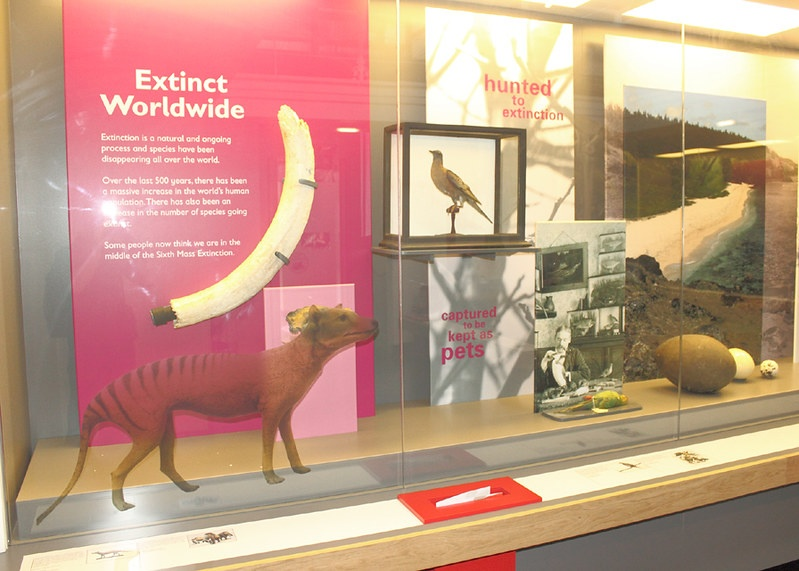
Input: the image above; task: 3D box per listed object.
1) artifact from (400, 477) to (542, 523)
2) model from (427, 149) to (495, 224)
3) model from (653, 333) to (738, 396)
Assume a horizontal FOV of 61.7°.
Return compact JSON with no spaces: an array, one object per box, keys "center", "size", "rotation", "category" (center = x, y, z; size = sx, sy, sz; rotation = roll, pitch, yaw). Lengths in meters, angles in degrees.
[{"center":[0.255,0.775,2.454],"size":[0.493,0.048,0.219],"rotation":[-5,7,-18],"category":"artifact"},{"center":[0.235,-0.391,2.601],"size":[0.324,0.212,0.100],"rotation":[12,-4,-27],"category":"model"},{"center":[1.424,0.364,3.183],"size":[0.401,0.239,0.309],"rotation":[16,17,30],"category":"model"}]
